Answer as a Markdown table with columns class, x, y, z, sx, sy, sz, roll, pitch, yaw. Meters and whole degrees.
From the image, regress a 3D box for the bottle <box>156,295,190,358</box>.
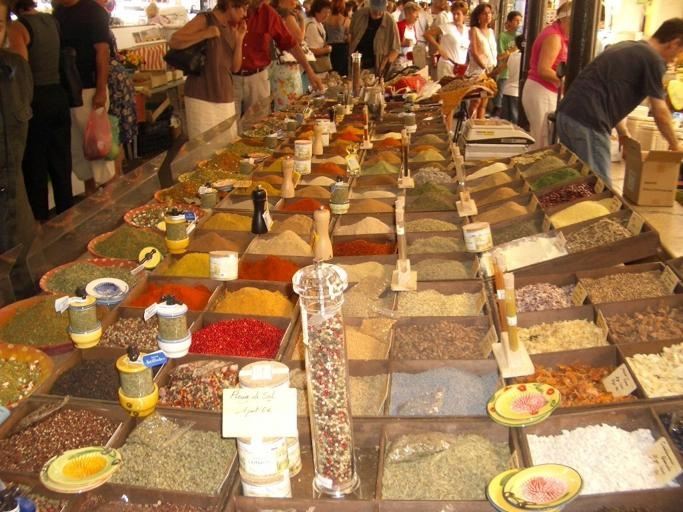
| class | x | y | z | sx | sy | sz | roll | pitch | yaw |
| --- | --- | --- | --- | --- | --- | --- | --- | --- | --- |
| bottle | -0.585 | 0.272 | 1.655 | 0.108 | 0.265 | 0.087 | -12 | 28 | -23 |

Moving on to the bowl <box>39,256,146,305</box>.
| class | x | y | z | sx | sy | sz | roll | pitch | yaw |
| --- | --- | --- | --- | --- | --- | --- | --- | --- | --- |
| bowl | -1.271 | 0.110 | 2.388 | 0.482 | 0.067 | 0.391 | 4 | 27 | 7 |

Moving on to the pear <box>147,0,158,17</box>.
| class | x | y | z | sx | sy | sz | roll | pitch | yaw |
| --- | --- | --- | --- | --- | --- | --- | --- | --- | --- |
| pear | -4.469 | -5.879 | 11.281 | 0.259 | 0.315 | 0.330 | 0 | 7 | -12 |

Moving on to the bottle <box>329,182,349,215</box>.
| class | x | y | z | sx | sy | sz | roll | pitch | yaw |
| --- | --- | --- | --- | --- | --- | --- | --- | --- | --- |
| bottle | -0.011 | -0.373 | 3.027 | 0.186 | 0.244 | 0.173 | 1 | 18 | 0 |

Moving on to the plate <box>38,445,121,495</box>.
| class | x | y | z | sx | sy | sz | roll | pitch | yaw |
| --- | --- | --- | --- | --- | --- | --- | --- | --- | --- |
| plate | -0.756 | 0.617 | 1.367 | 0.214 | 0.024 | 0.143 | 1 | 27 | 2 |

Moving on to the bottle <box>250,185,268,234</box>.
| class | x | y | z | sx | sy | sz | roll | pitch | yaw |
| --- | --- | --- | --- | --- | --- | --- | --- | --- | --- |
| bottle | -0.488 | -0.273 | 2.790 | 0.101 | 0.271 | 0.154 | -5 | 26 | -10 |

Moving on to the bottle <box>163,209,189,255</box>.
| class | x | y | z | sx | sy | sz | roll | pitch | yaw |
| --- | --- | --- | --- | --- | --- | --- | --- | --- | --- |
| bottle | -0.896 | -0.128 | 2.571 | 0.119 | 0.246 | 0.132 | -11 | 28 | -21 |

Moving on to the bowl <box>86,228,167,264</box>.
| class | x | y | z | sx | sy | sz | roll | pitch | yaw |
| --- | --- | --- | --- | --- | --- | --- | --- | --- | --- |
| bowl | -1.203 | -0.121 | 2.648 | 0.282 | 0.092 | 0.285 | 9 | 19 | -3 |
